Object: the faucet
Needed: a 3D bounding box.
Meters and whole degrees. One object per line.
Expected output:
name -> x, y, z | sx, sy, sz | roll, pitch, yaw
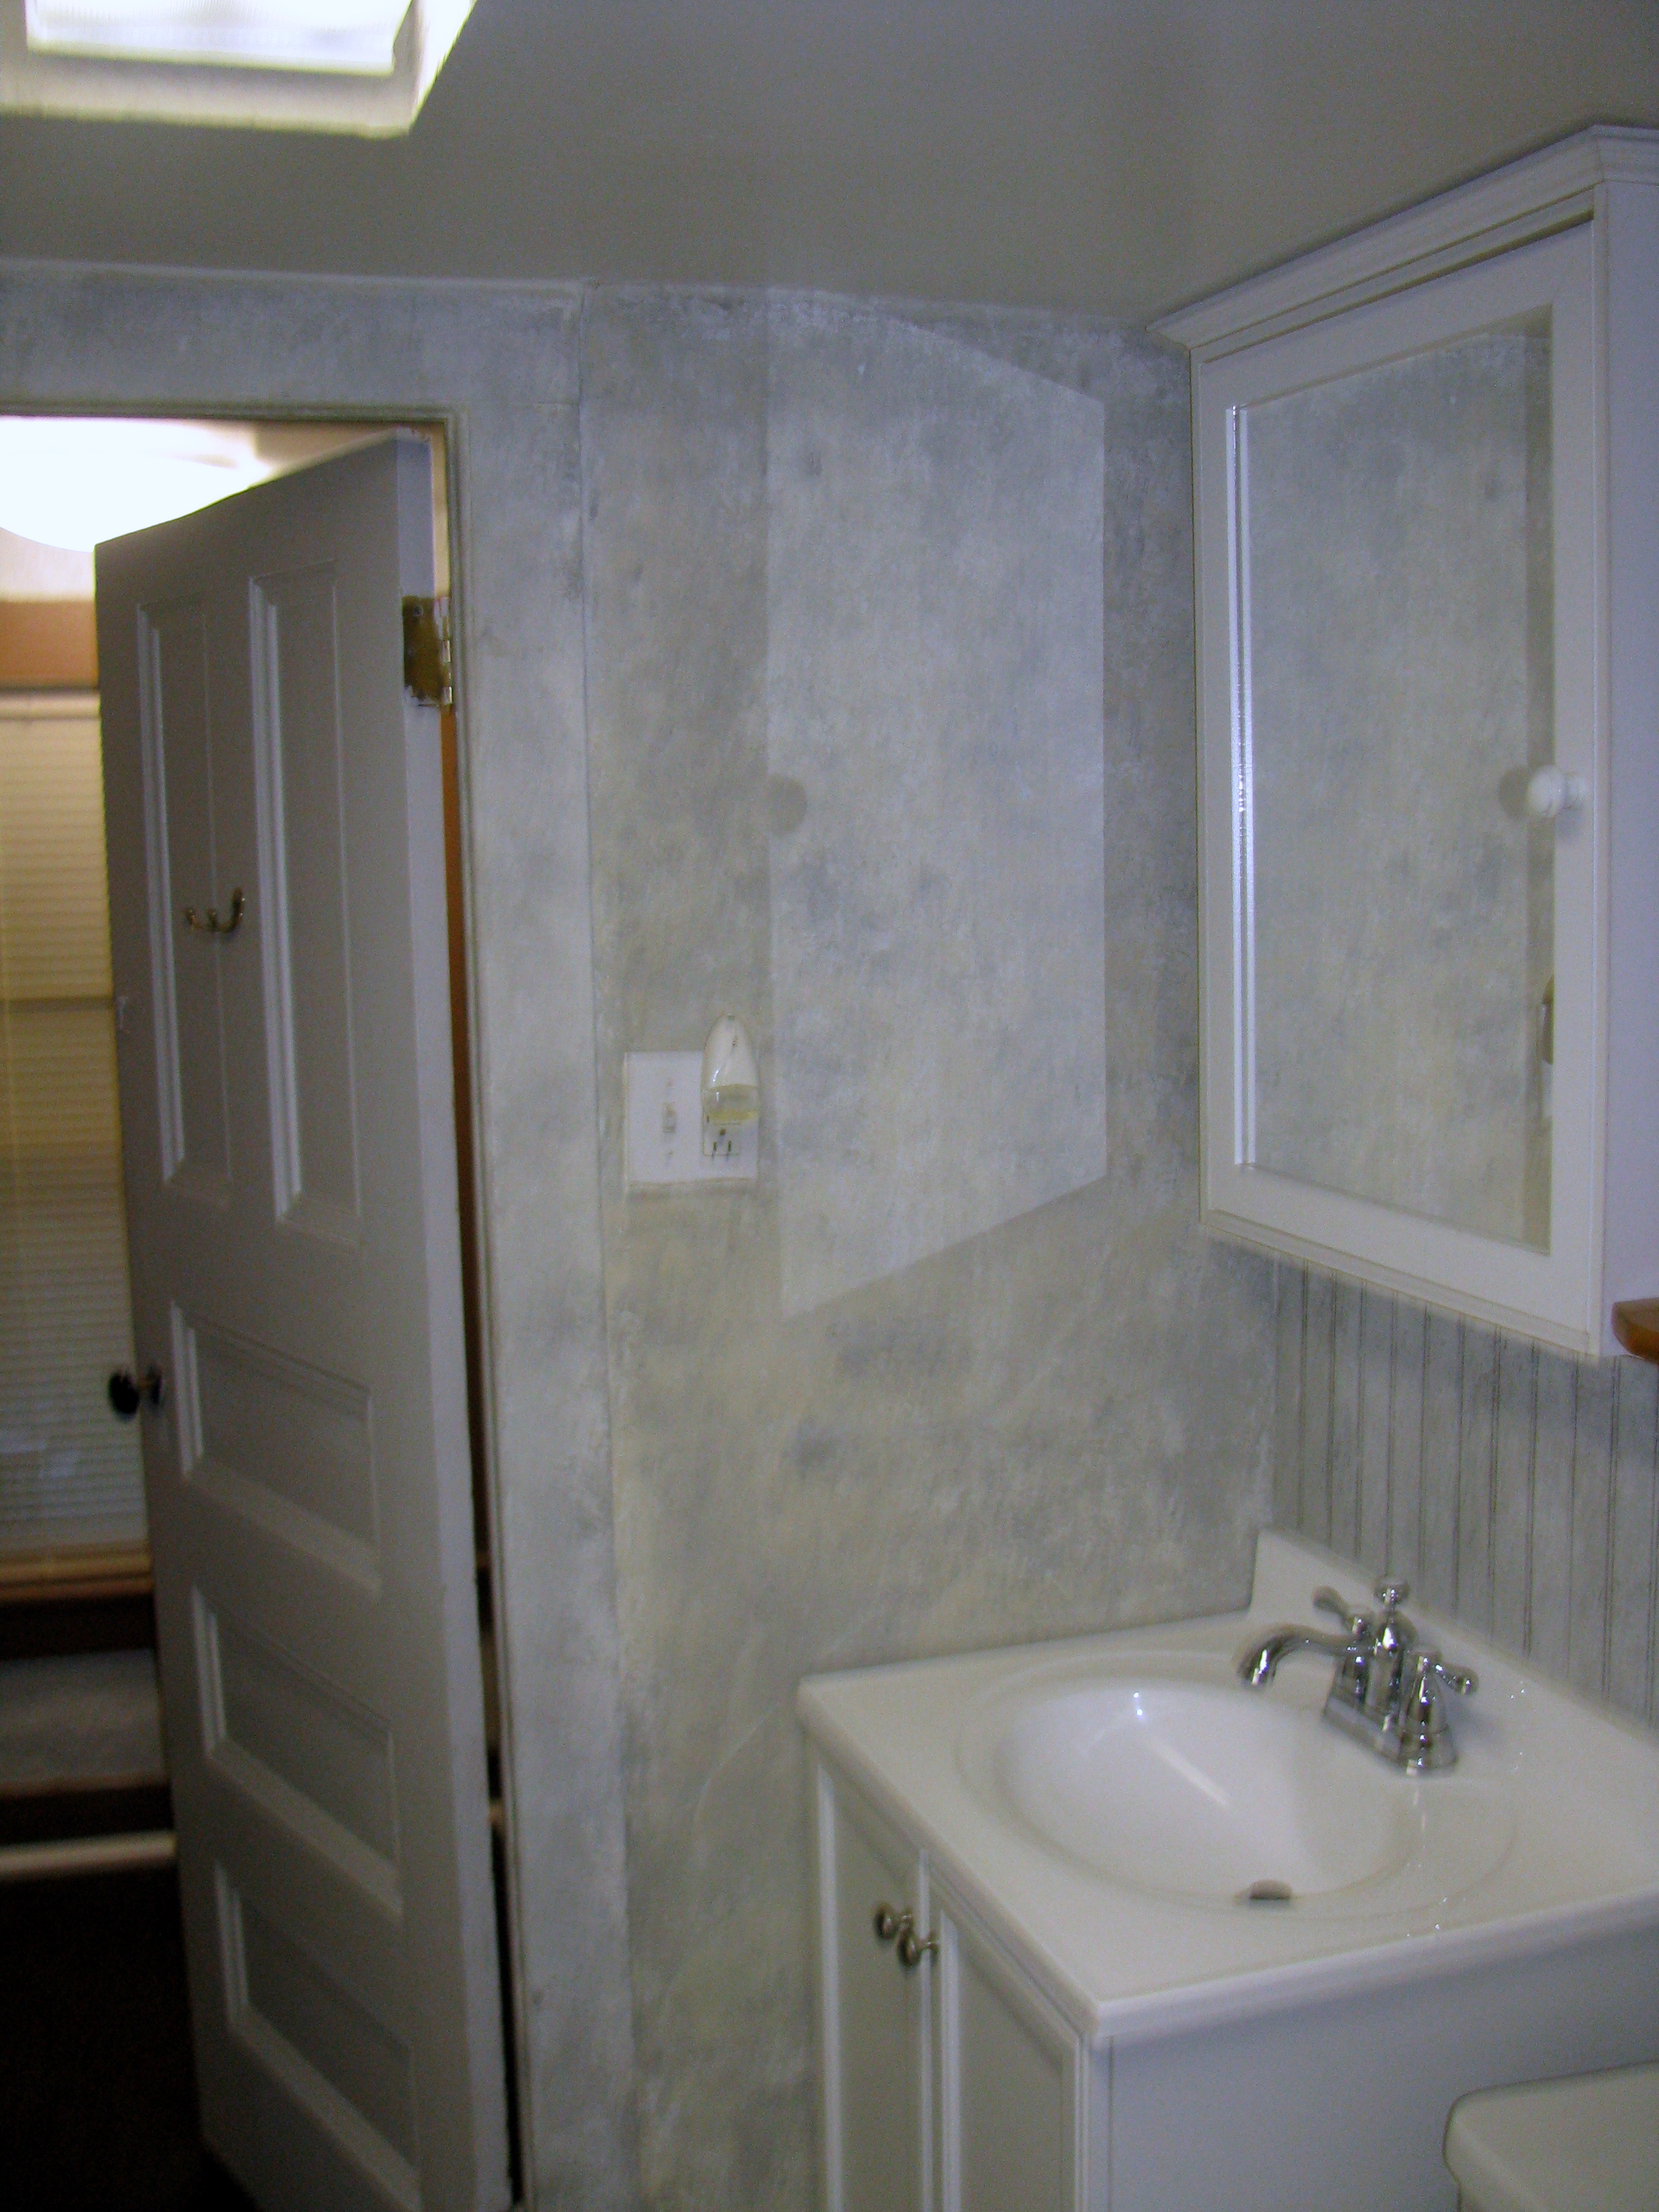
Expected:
faucet -> 0.446, 0.455, 1.544 | 0.054, 0.128, 0.178 | 8, -1, -23
